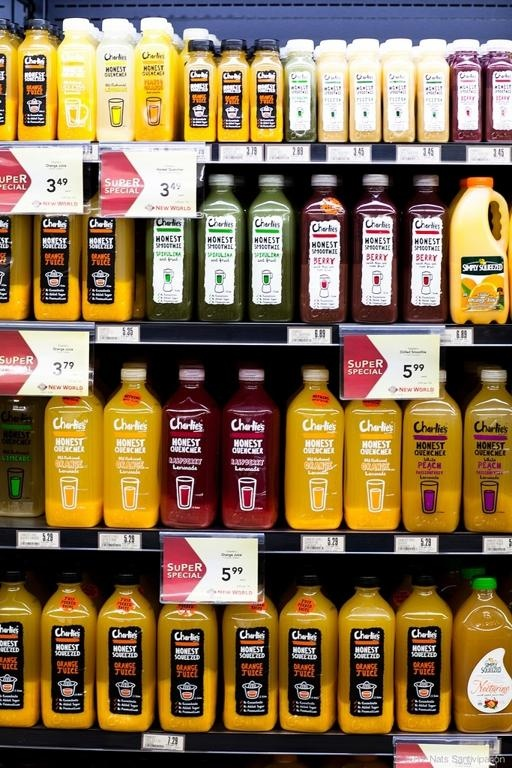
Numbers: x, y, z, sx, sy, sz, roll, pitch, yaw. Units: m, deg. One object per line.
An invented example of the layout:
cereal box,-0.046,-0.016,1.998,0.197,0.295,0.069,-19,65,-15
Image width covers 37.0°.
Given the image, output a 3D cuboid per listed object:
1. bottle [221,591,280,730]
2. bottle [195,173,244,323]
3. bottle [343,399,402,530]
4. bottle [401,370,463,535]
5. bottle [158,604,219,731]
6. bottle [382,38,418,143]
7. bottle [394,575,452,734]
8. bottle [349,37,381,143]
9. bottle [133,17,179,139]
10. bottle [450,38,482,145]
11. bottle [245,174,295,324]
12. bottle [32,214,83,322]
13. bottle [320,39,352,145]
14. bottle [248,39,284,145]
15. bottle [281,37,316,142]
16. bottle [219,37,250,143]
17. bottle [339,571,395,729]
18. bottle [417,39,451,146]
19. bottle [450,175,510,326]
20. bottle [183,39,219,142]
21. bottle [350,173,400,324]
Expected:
bottle,-0.015,0.682,1.859,0.138,0.294,0.093,-4,10,-2
bottle,-0.088,-0.326,1.839,0.104,0.344,0.082,-13,14,-43
bottle,0.285,0.197,1.868,0.138,0.315,0.063,-2,10,6
bottle,0.428,0.164,1.863,0.158,0.383,0.097,-4,10,-3
bottle,-0.169,0.680,1.848,0.148,0.296,0.082,-4,10,-2
bottle,0.336,-0.683,1.797,0.082,0.236,0.093,-2,10,8
bottle,0.403,0.645,1.847,0.135,0.373,0.092,-2,10,9
bottle,0.257,-0.685,1.812,0.078,0.237,0.121,-2,10,9
bottle,-0.241,-0.721,1.847,0.099,0.294,0.199,-2,10,8
bottle,0.488,-0.680,1.788,0.067,0.237,0.069,-3,10,1
bottle,0.032,-0.326,1.841,0.118,0.347,0.086,-8,11,-22
bottle,-0.482,-0.281,1.856,0.133,0.252,0.049,-5,10,-11
bottle,0.180,-0.684,1.806,0.074,0.234,0.099,-2,10,7
bottle,0.021,-0.677,1.779,0.075,0.237,0.081,-3,10,1
bottle,0.102,-0.682,1.792,0.079,0.236,0.090,-3,10,6
bottle,-0.057,-0.678,1.778,0.082,0.237,0.068,-4,10,-2
bottle,0.262,0.647,1.841,0.137,0.363,0.106,-2,10,7
bottle,0.409,-0.678,1.778,0.072,0.235,0.051,-2,10,9
bottle,0.553,-0.326,1.857,0.185,0.349,0.130,-11,13,-39
bottle,-0.132,-0.683,1.788,0.084,0.232,0.062,-7,11,-21
bottle,0.283,-0.324,1.842,0.112,0.350,0.078,-2,10,8
